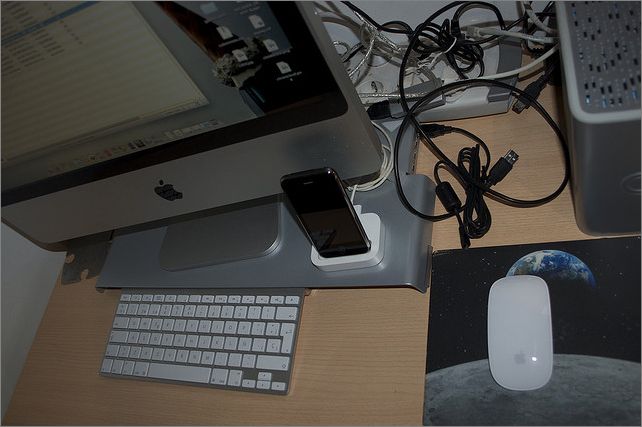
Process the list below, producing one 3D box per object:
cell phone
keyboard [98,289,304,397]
[{"bbox_3d":[0.012,-0.003,0.738,0.140,0.233,0.023,-11,32,32],"label":"cell phone"},{"bbox_3d":[-0.218,0.222,0.784,0.381,0.025,0.167,1,71,16],"label":"keyboard"}]
